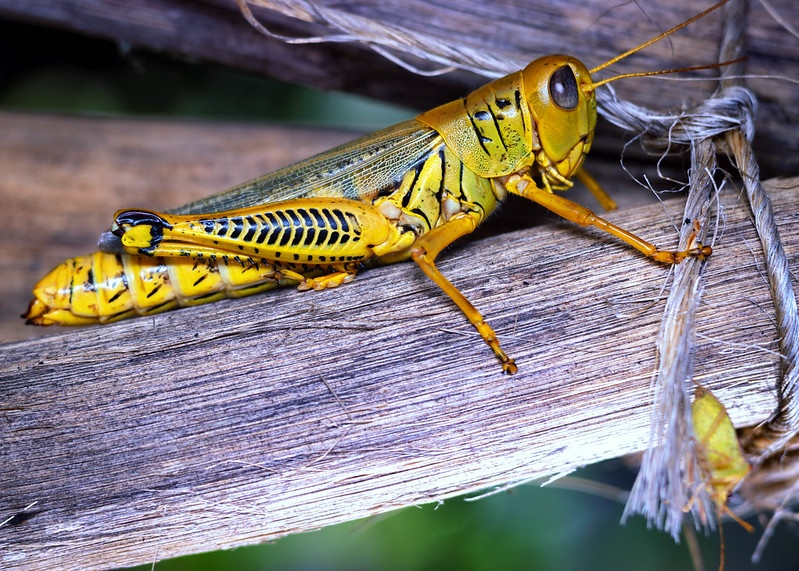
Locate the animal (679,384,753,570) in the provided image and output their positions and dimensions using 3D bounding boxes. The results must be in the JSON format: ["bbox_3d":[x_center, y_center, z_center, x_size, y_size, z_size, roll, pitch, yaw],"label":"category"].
[{"bbox_3d":[0.750,0.410,2.180,0.121,0.368,0.068,-4,1,0],"label":"animal"}]
